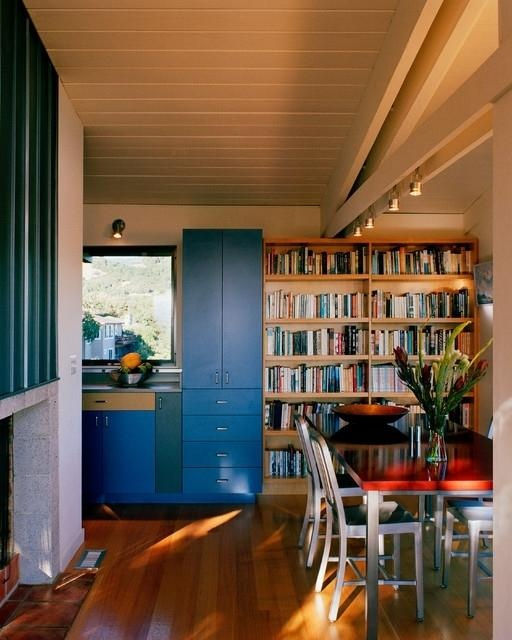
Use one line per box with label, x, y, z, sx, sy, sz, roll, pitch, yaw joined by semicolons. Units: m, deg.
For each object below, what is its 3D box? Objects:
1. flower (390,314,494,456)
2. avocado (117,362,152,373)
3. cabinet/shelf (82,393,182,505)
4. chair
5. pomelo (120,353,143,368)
flower;0.910;0.386;2.638;0.391;0.577;0.400;5;2;24
avocado;-0.965;0.389;4.348;0.191;0.096;0.080;1;8;-13
cabinet/shelf;-0.982;0.994;4.128;0.838;0.867;0.488;-1;-5;-3
chair;0.613;0.901;2.605;0.757;0.630;1.387;-1;-1;-5
pomelo;-1.020;0.345;4.394;0.103;0.088;0.140;-2;15;15
